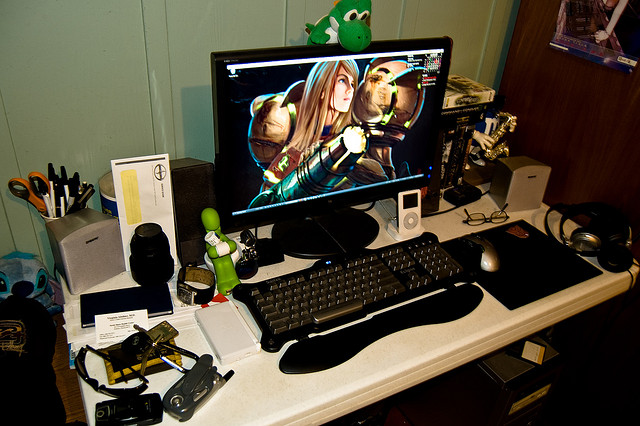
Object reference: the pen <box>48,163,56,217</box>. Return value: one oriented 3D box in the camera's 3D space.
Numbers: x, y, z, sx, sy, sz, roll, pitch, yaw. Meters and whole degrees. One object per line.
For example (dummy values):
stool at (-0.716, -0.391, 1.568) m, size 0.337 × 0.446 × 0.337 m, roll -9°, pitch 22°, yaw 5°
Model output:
pen at (-0.814, -0.073, 1.513) m, size 0.018 × 0.179 × 0.019 m, roll 2°, pitch 7°, yaw -5°

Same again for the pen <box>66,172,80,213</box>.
pen at (-0.761, -0.071, 1.528) m, size 0.021 × 0.151 × 0.022 m, roll 16°, pitch 6°, yaw -17°

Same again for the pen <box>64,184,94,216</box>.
pen at (-0.748, -0.043, 1.529) m, size 0.122 × 0.020 × 0.012 m, roll -48°, pitch 20°, yaw 0°

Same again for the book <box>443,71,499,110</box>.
book at (0.537, -0.480, 1.925) m, size 0.223 × 0.050 × 0.209 m, roll -13°, pitch 34°, yaw -16°

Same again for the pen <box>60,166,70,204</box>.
pen at (-0.777, -0.089, 1.519) m, size 0.016 × 0.115 × 0.016 m, roll -3°, pitch 8°, yaw -6°

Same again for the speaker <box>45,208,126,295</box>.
speaker at (-0.695, 0.108, 1.491) m, size 0.176 × 0.185 × 0.136 m, roll -26°, pitch 42°, yaw -38°

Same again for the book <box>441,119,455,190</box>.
book at (0.491, -0.255, 1.900) m, size 0.068 × 0.332 × 0.025 m, roll -9°, pitch 17°, yaw -16°

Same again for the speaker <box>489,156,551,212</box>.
speaker at (0.749, -0.120, 1.963) m, size 0.206 × 0.206 × 0.201 m, roll -11°, pitch 37°, yaw -18°

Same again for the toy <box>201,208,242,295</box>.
toy at (-0.281, 0.119, 1.570) m, size 0.105 × 0.276 × 0.114 m, roll -17°, pitch 11°, yaw -22°

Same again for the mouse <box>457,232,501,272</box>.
mouse at (0.519, 0.125, 1.646) m, size 0.083 × 0.047 × 0.143 m, roll -27°, pitch 52°, yaw -28°

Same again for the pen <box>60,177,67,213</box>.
pen at (-0.786, -0.061, 1.516) m, size 0.012 × 0.110 × 0.012 m, roll -4°, pitch 10°, yaw -34°

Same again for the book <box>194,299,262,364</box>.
book at (-0.265, 0.336, 1.410) m, size 0.141 × 0.039 × 0.202 m, roll -15°, pitch 45°, yaw -43°

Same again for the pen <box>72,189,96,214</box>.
pen at (-0.740, -0.040, 1.546) m, size 0.020 × 0.087 × 0.021 m, roll 37°, pitch -8°, yaw 14°

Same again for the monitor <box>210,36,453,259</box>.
monitor at (0.054, -0.230, 1.622) m, size 0.834 × 0.659 × 0.237 m, roll -13°, pitch 35°, yaw -28°

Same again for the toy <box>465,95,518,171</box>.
toy at (0.702, -0.290, 2.060) m, size 0.185 × 0.317 × 0.176 m, roll 31°, pitch 12°, yaw 23°
